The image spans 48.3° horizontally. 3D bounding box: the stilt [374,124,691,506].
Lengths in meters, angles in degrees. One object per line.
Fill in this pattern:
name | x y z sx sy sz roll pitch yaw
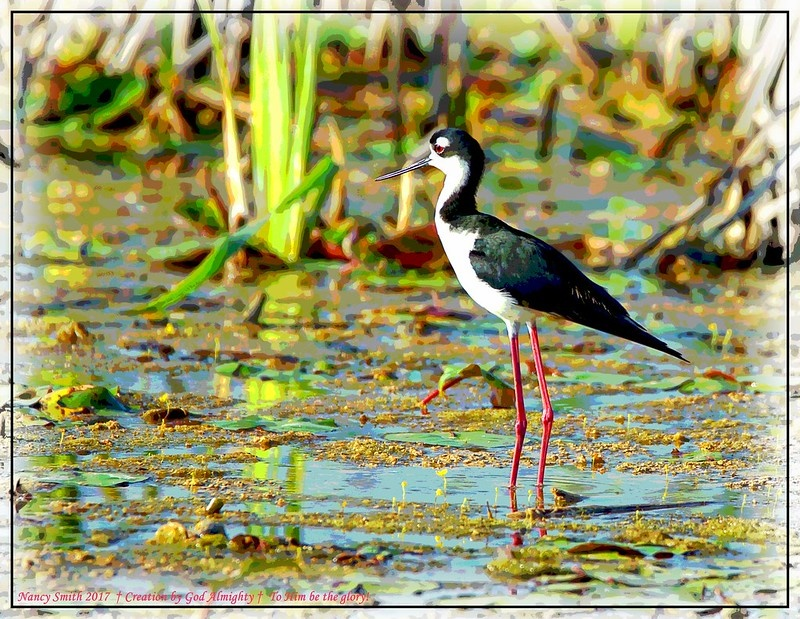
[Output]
stilt | 0.600 -0.054 4.287 1.033 1.785 0.448 0 -8 8
